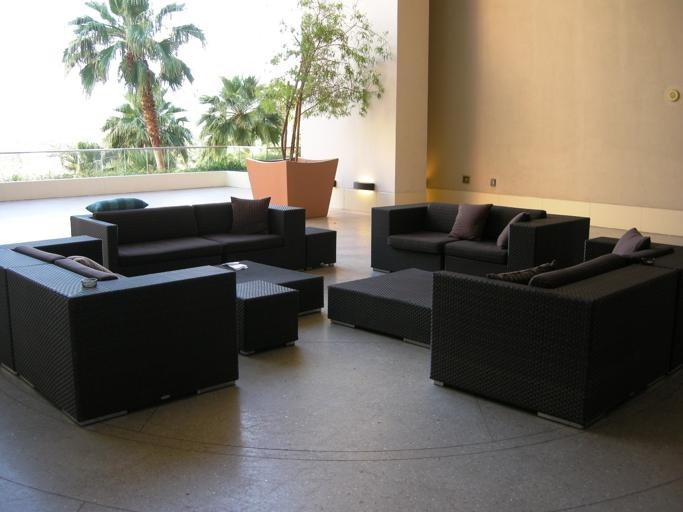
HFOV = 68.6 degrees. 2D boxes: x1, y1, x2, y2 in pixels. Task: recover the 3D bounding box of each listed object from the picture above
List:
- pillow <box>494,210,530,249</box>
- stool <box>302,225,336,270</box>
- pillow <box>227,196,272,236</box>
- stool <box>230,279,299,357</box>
[{"bbox_3d":[1.963,-0.326,5.801,0.128,0.416,0.438,23,-28,6],"label":"pillow"},{"bbox_3d":[-0.155,-0.065,6.931,0.641,0.488,0.637,5,-9,-22],"label":"stool"},{"bbox_3d":[-1.199,-0.519,6.619,0.508,0.505,0.194,0,1,-14],"label":"pillow"},{"bbox_3d":[-0.594,0.502,4.079,0.536,0.522,0.534,-6,9,-37],"label":"stool"}]
